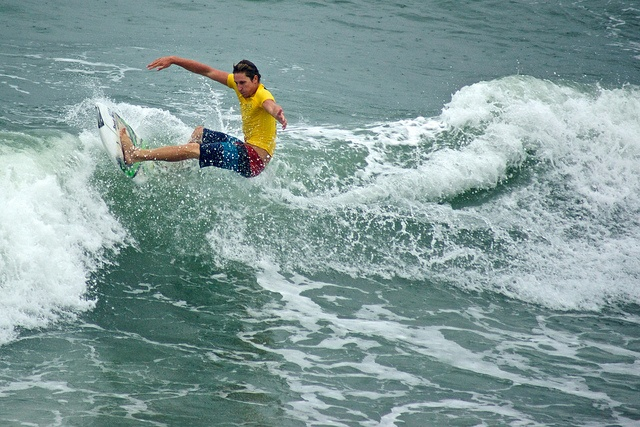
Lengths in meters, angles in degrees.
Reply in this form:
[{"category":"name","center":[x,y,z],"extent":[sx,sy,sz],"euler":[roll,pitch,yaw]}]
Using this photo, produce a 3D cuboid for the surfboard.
[{"category":"surfboard","center":[-3.831,-1.340,17.668],"extent":[0.283,1.542,0.740],"euler":[-14,37,45]}]
